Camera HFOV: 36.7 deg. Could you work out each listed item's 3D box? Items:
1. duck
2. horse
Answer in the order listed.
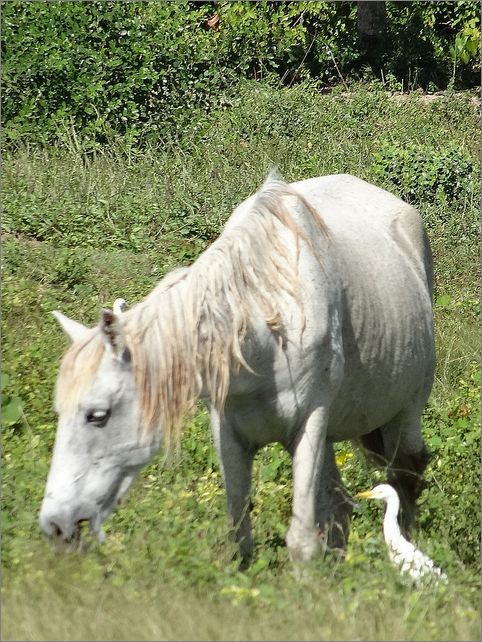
[{"bbox_3d":[0.774,0.885,3.387,0.409,0.432,0.138,-8,41,3],"label":"duck"},{"bbox_3d":[0.112,0.173,3.041,0.830,1.430,2.491,14,21,31],"label":"horse"}]
